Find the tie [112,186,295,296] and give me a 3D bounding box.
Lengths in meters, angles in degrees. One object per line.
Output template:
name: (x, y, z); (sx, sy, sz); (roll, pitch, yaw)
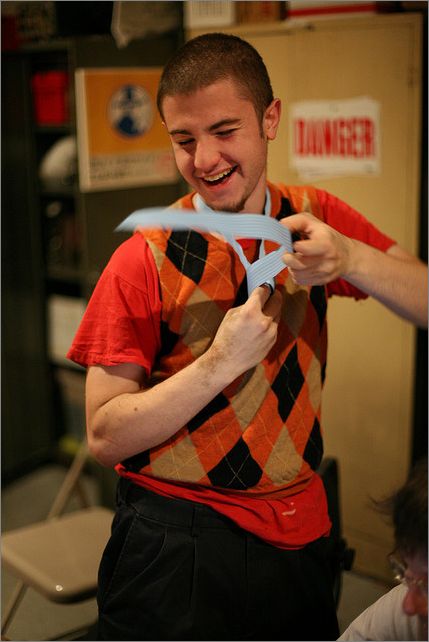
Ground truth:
tie: (-0.004, -0.113, 0.727); (0.161, 0.068, 0.160); (-9, -18, 23)
